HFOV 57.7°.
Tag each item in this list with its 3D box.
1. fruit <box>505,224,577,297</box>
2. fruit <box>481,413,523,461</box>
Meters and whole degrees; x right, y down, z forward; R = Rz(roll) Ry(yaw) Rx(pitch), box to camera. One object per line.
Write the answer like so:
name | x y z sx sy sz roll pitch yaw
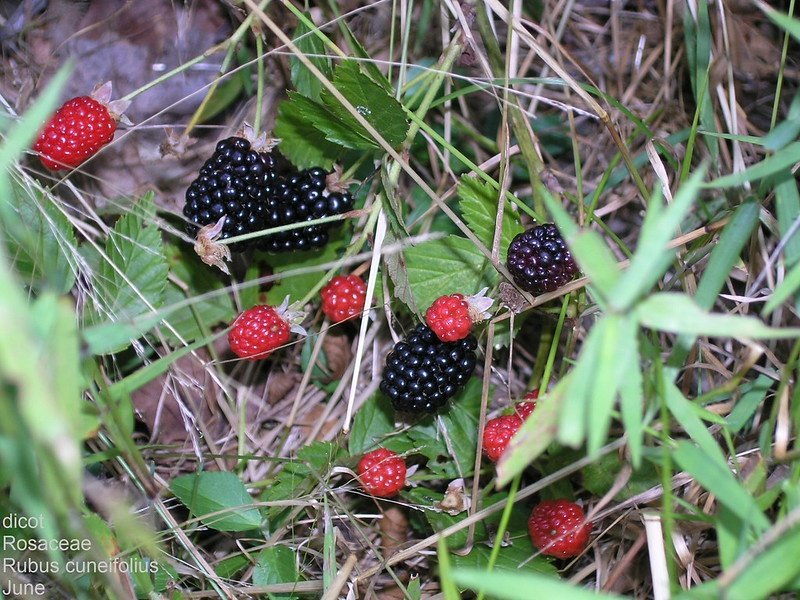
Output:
fruit | 0.376 -0.107 1.914 0.179 0.169 0.175 -3 28 -2
fruit | 0.270 0.326 1.867 0.084 0.111 0.115 0 21 39
